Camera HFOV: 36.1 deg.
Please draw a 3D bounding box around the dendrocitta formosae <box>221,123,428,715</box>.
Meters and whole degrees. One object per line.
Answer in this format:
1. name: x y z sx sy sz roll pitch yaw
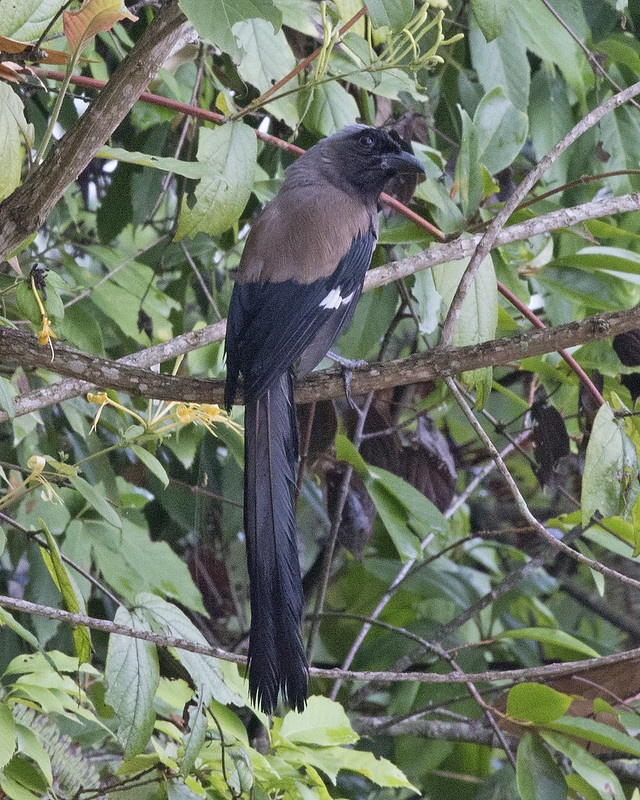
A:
1. dendrocitta formosae: -0.020 -0.072 2.672 0.491 1.154 1.130 5 2 -6
